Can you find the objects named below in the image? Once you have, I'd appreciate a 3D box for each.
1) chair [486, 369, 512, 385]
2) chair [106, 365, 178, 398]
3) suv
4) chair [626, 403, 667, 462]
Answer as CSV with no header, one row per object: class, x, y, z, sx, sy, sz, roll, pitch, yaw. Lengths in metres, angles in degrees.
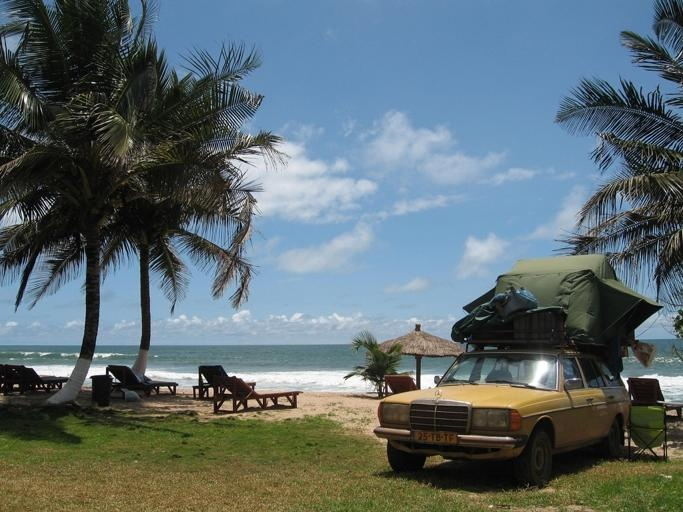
chair,2.692,2.067,9.171,0.287,0.262,0.272,-11,-2,18
chair,-6.889,4.409,18.848,1.832,1.109,2.556,0,-8,9
suv,3.058,2.480,9.571,4.360,1.834,2.454,14,-21,-40
chair,6.057,3.480,10.668,0.673,0.995,1.181,-3,-10,28
